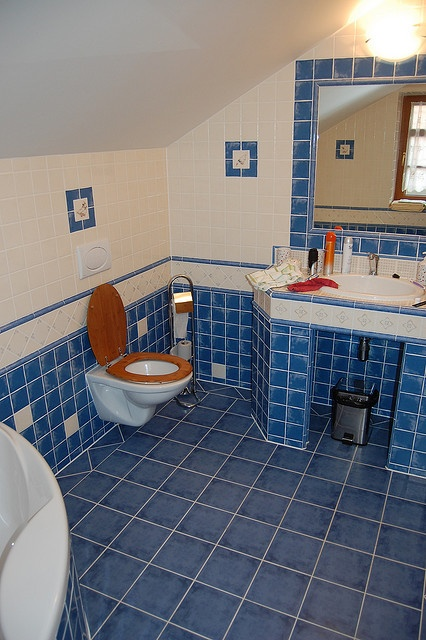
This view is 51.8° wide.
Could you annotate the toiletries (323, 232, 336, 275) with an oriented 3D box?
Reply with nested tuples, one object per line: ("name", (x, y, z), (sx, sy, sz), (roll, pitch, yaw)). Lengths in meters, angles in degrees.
("toiletries", (0.739, -0.423, 2.788), (0.060, 0.273, 0.062), (-5, 16, -19))

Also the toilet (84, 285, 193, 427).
("toilet", (-0.438, 0.225, 2.662), (0.566, 0.836, 0.446), (4, 18, 20))

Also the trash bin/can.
("trash bin/can", (0.910, 0.582, 2.838), (0.264, 0.345, 0.315), (5, 19, 24))

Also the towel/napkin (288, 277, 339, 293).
("towel/napkin", (0.592, -0.203, 2.572), (0.329, 0.057, 0.126), (-11, 20, -23))

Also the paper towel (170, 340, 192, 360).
("paper towel", (-0.242, 0.212, 3.257), (0.150, 0.159, 0.115), (-4, 21, -8))

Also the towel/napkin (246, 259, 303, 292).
("towel/napkin", (0.389, -0.269, 2.679), (0.236, 0.082, 0.210), (-18, 24, 5))

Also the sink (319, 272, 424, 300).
("sink", (0.920, -0.160, 2.532), (0.530, 0.112, 0.416), (6, 20, 25))
